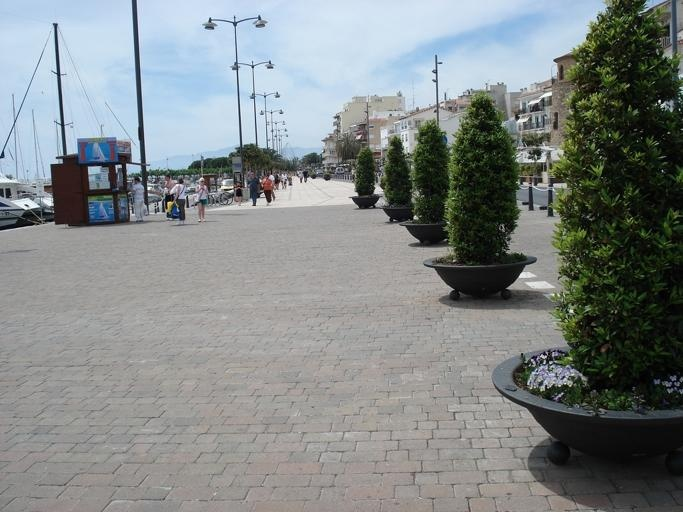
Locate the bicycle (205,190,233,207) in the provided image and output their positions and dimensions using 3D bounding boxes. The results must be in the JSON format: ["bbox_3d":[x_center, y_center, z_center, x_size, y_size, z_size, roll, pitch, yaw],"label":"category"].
[{"bbox_3d":[-10.552,-4.609,44.383,2.599,1.241,1.174,1,2,4],"label":"bicycle"}]
